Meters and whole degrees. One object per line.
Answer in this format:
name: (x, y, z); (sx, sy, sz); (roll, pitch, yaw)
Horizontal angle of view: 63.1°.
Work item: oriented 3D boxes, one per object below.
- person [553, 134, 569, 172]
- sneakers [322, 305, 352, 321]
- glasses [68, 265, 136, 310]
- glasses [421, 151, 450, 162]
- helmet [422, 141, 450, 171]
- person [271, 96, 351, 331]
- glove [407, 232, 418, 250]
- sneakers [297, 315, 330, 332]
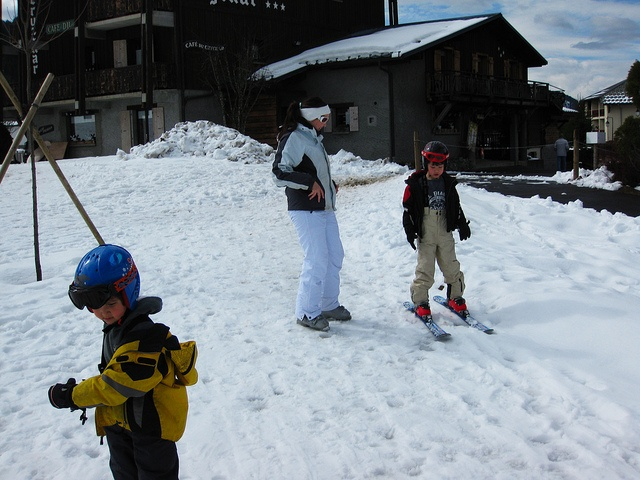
person: (9.370, -3.264, 20.061); (0.413, 1.209, 1.296); (5, 17, 22)
sneakers: (0.188, 0.791, 5.696); (0.314, 0.189, 0.141); (-2, 9, 1)
glasses: (-1.197, 0.222, 2.824); (0.182, 0.110, 0.255); (-10, 15, 33)
glasses: (1.175, -0.849, 5.281); (0.167, 0.081, 0.207); (2, 14, -7)
helmet: (1.206, -0.883, 5.384); (0.198, 0.254, 0.271); (3, 23, 3)
person: (-0.072, -0.239, 5.317); (0.684, 2.295, 0.561); (3, 15, 15)
glove: (0.961, 0.020, 5.351); (0.113, 0.063, 0.163); (15, 49, 31)
sneakers: (-0.066, 0.829, 5.385); (0.302, 0.167, 0.140); (2, 11, 29)
